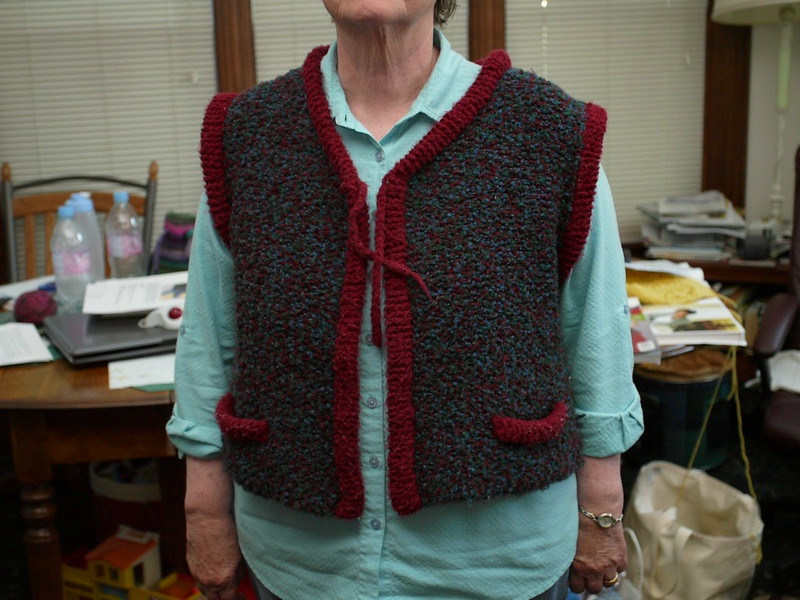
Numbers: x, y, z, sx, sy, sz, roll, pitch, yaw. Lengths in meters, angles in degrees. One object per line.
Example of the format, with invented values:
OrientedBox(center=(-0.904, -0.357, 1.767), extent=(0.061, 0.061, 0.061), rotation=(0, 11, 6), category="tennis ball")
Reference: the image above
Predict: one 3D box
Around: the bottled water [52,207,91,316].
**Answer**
OrientedBox(center=(-0.962, -0.125, 2.249), extent=(0.110, 0.289, 0.214), rotation=(-8, 11, -23), category="bottled water")

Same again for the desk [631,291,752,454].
OrientedBox(center=(0.923, 0.257, 2.643), extent=(0.413, 0.483, 0.436), rotation=(-6, 14, -7), category="desk")

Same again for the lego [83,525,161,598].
OrientedBox(center=(-0.753, 0.694, 2.104), extent=(0.149, 0.103, 0.154), rotation=(1, 6, 12), category="lego")
